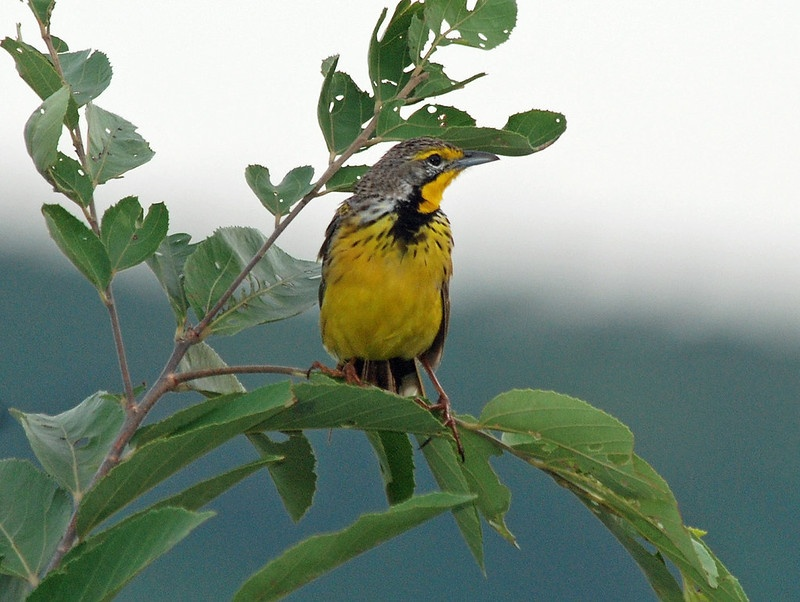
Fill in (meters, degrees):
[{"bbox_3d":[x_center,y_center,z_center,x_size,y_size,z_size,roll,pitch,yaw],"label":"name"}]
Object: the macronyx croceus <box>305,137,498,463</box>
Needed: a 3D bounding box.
[{"bbox_3d":[-0.009,-0.066,2.834,0.467,0.750,0.560,9,14,-3],"label":"macronyx croceus"}]
